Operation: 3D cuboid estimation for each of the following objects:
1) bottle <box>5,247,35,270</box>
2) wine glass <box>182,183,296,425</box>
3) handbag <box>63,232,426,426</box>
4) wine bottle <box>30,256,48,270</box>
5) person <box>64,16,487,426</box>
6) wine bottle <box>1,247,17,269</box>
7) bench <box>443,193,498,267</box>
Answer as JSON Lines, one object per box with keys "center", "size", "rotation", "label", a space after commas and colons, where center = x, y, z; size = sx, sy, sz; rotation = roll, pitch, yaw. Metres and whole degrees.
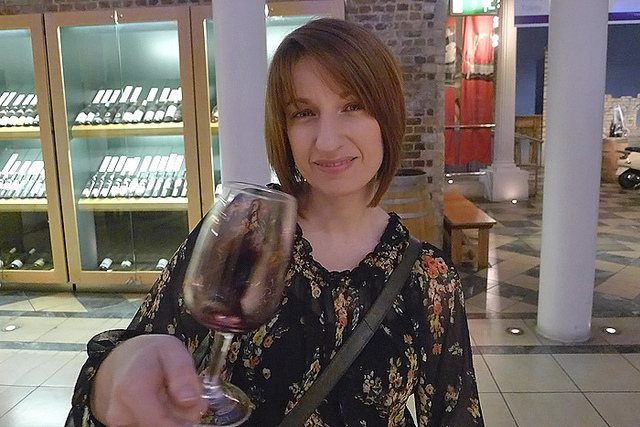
{"center": [-3.120, 0.462, 5.177], "size": [0.066, 0.059, 0.227], "rotation": [25, 38, 10], "label": "bottle"}
{"center": [-0.253, 0.289, 1.652], "size": [0.381, 0.765, 0.198], "rotation": [-3, 11, -4], "label": "wine glass"}
{"center": [-0.217, 0.441, 2.043], "size": [0.750, 1.022, 0.527], "rotation": [34, -3, -8], "label": "handbag"}
{"center": [-2.898, 0.510, 5.157], "size": [0.062, 0.063, 0.097], "rotation": [37, 24, -8], "label": "wine bottle"}
{"center": [-0.087, 0.361, 2.062], "size": [1.142, 2.072, 1.098], "rotation": [4, 13, -4], "label": "person"}
{"center": [-3.233, 0.466, 5.180], "size": [0.073, 0.244, 0.073], "rotation": [40, 6, -5], "label": "wine bottle"}
{"center": [1.689, 0.192, 6.312], "size": [0.506, 0.594, 1.752], "rotation": [0, 12, 1], "label": "bench"}
